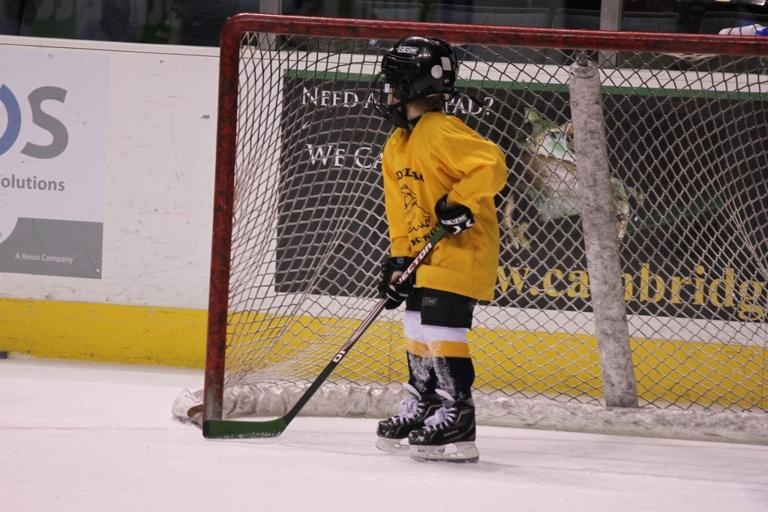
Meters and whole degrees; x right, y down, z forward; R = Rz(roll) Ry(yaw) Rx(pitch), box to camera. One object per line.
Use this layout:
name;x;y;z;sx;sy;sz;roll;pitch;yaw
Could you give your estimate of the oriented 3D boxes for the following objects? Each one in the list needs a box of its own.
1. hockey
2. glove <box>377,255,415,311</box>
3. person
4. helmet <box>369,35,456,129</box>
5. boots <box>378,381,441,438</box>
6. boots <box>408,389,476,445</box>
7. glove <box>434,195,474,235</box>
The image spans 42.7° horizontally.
hockey;-0.290;0.391;4.771;0.243;1.534;0.090;53;6;11
glove;0.052;0.117;4.391;0.105;0.225;0.171;23;-10;-27
person;0.196;-0.064;4.338;0.628;1.291;0.275;6;3;10
helmet;0.157;-0.798;4.435;0.414;0.362;0.339;5;12;33
boots;0.129;0.700;4.426;0.397;0.186;0.121;-10;10;-17
boots;0.262;0.713;4.292;0.282;0.174;0.113;5;3;3
glove;0.294;-0.170;4.264;0.169;0.152;0.147;-20;22;6
